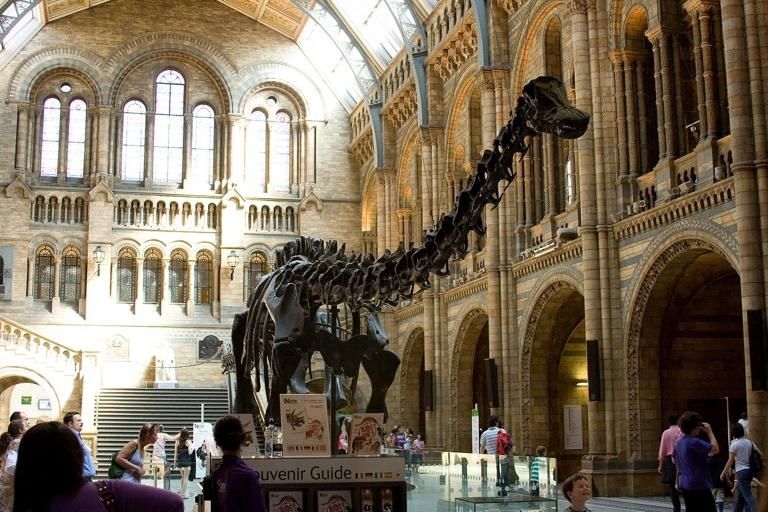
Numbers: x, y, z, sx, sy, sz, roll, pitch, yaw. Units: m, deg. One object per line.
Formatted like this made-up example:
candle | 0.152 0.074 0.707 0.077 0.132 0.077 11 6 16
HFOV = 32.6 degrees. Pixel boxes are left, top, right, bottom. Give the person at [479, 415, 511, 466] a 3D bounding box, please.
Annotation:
person | 2.866 4.552 33.613 0.733 1.039 1.575 -2 -13 5

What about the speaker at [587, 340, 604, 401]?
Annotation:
speaker | 5.697 3.047 35.351 0.377 1.663 0.322 -2 -14 6

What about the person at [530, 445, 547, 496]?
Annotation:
person | 3.328 4.742 28.424 0.344 0.833 0.329 -2 -14 6

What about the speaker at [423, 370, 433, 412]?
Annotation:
speaker | 1.536 4.452 43.876 0.288 1.344 0.404 -2 -14 5

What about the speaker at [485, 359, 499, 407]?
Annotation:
speaker | 3.244 3.799 39.648 0.406 1.501 0.336 -6 -15 24

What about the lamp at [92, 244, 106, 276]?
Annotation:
lamp | -10.900 0.014 50.175 0.494 1.238 1.225 3 -13 -12
